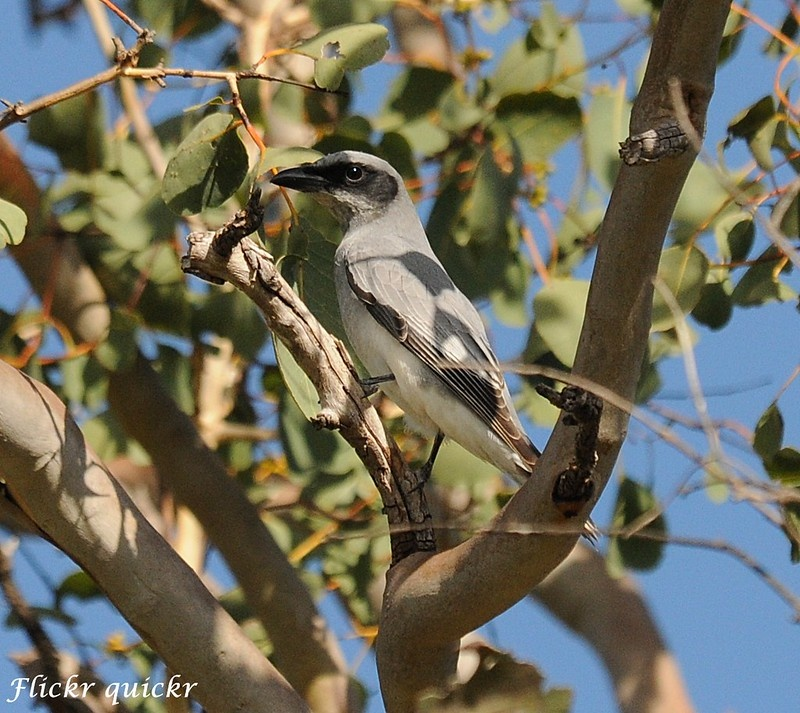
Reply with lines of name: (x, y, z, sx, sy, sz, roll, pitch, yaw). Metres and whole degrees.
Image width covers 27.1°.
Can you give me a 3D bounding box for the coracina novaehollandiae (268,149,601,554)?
coracina novaehollandiae: (0.116, -0.110, 6.946, 1.256, 1.384, 0.458, 7, -8, -11)
